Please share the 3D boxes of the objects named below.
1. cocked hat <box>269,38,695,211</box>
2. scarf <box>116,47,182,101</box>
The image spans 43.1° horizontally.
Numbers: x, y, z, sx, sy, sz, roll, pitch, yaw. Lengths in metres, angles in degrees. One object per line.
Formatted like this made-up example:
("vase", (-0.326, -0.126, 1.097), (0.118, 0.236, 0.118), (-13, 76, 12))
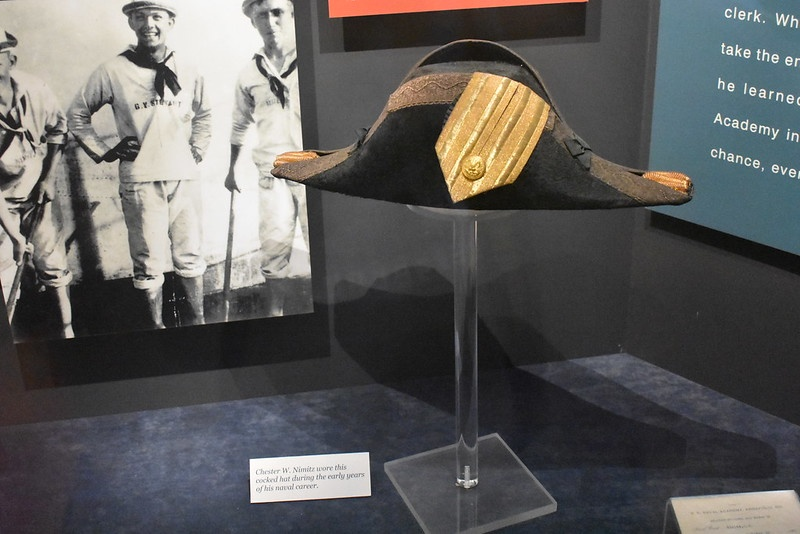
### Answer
("cocked hat", (0.275, -0.516, 3.630), (1.490, 0.591, 0.619), (6, 18, 11))
("scarf", (-0.985, -0.770, 4.028), (0.220, 0.201, 0.012), (-2, 15, -3))
